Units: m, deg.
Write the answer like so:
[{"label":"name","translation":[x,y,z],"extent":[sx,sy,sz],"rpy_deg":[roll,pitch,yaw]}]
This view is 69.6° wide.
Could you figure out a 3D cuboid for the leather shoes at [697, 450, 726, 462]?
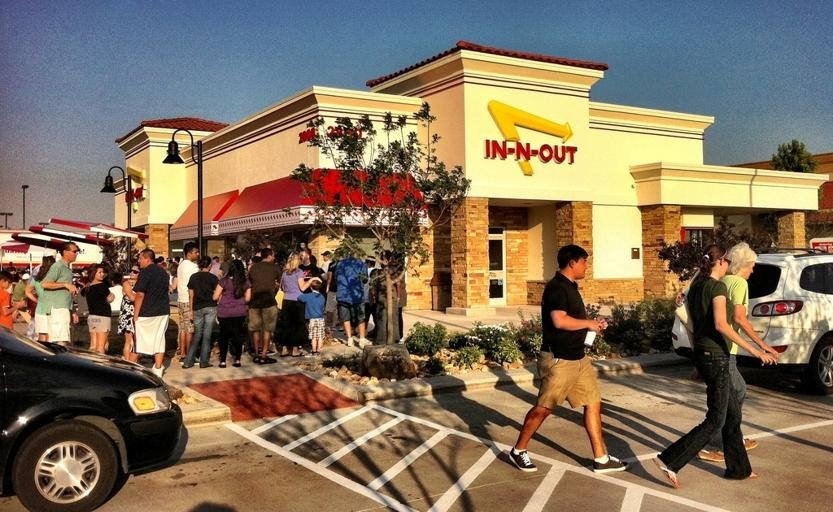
[{"label":"leather shoes","translation":[4.313,2.893,8.790],"extent":[0.410,0.175,0.150],"rpy_deg":[0,1,1]}]

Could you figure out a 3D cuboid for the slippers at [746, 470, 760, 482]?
[{"label":"slippers","translation":[4.620,2.998,8.217],"extent":[0.072,0.140,0.211],"rpy_deg":[-8,-17,27]}]

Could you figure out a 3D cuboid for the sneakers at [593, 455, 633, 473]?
[{"label":"sneakers","translation":[2.733,2.881,8.417],"extent":[0.572,0.228,0.209],"rpy_deg":[-1,2,-15]}]

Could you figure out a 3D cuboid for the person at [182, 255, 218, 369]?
[{"label":"person","translation":[-4.928,1.304,13.700],"extent":[0.810,2.525,1.039],"rpy_deg":[-4,7,-27]}]

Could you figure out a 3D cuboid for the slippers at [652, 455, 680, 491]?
[{"label":"slippers","translation":[3.390,2.871,8.101],"extent":[0.323,0.389,0.342],"rpy_deg":[2,7,24]}]

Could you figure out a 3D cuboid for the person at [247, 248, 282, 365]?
[{"label":"person","translation":[-3.712,1.319,14.432],"extent":[0.741,2.391,0.657],"rpy_deg":[0,6,3]}]

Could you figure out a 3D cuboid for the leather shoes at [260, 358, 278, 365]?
[{"label":"leather shoes","translation":[-3.540,2.511,14.406],"extent":[0.363,0.141,0.128],"rpy_deg":[-2,2,-21]}]

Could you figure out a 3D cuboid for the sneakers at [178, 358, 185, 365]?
[{"label":"sneakers","translation":[-5.614,2.504,14.363],"extent":[0.138,0.076,0.182],"rpy_deg":[1,-1,-5]}]

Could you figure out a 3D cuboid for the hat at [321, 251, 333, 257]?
[{"label":"hat","translation":[-2.251,-0.046,15.412],"extent":[0.339,0.120,0.371],"rpy_deg":[-1,3,-16]}]

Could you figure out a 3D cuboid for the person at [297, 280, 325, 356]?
[{"label":"person","translation":[-2.694,1.510,15.356],"extent":[0.631,1.949,0.794],"rpy_deg":[-2,6,-15]}]

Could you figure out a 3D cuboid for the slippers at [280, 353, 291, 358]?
[{"label":"slippers","translation":[-3.336,2.484,15.232],"extent":[0.182,0.066,0.224],"rpy_deg":[-2,6,-18]}]

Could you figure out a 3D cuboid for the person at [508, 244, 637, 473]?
[{"label":"person","translation":[2.142,1.438,8.530],"extent":[1.383,3.137,0.913],"rpy_deg":[1,7,18]}]

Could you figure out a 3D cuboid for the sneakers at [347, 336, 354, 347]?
[{"label":"sneakers","translation":[-1.819,2.321,16.479],"extent":[0.144,0.241,0.374],"rpy_deg":[0,5,-6]}]

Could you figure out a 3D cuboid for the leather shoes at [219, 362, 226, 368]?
[{"label":"leather shoes","translation":[-4.451,2.474,13.773],"extent":[0.166,0.144,0.242],"rpy_deg":[-3,7,-23]}]
